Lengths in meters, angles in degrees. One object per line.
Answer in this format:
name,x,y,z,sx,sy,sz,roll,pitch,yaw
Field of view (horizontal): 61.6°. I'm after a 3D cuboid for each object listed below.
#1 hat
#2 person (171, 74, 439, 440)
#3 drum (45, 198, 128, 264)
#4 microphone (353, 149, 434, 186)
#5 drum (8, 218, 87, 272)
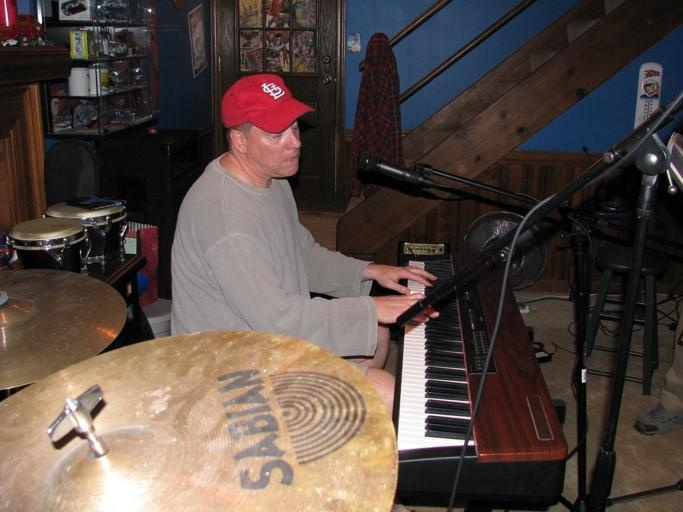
hat,-0.310,-0.615,2.286,0.438,0.200,0.303,14,30,39
person,-0.195,0.135,2.467,1.017,1.676,0.812,5,20,4
drum,-1.158,-0.165,2.590,0.289,0.232,0.296,3,18,-1
microphone,0.188,-0.302,1.979,0.267,0.074,0.172,12,14,10
drum,-1.216,-0.043,2.376,0.300,0.208,0.289,8,13,-2
